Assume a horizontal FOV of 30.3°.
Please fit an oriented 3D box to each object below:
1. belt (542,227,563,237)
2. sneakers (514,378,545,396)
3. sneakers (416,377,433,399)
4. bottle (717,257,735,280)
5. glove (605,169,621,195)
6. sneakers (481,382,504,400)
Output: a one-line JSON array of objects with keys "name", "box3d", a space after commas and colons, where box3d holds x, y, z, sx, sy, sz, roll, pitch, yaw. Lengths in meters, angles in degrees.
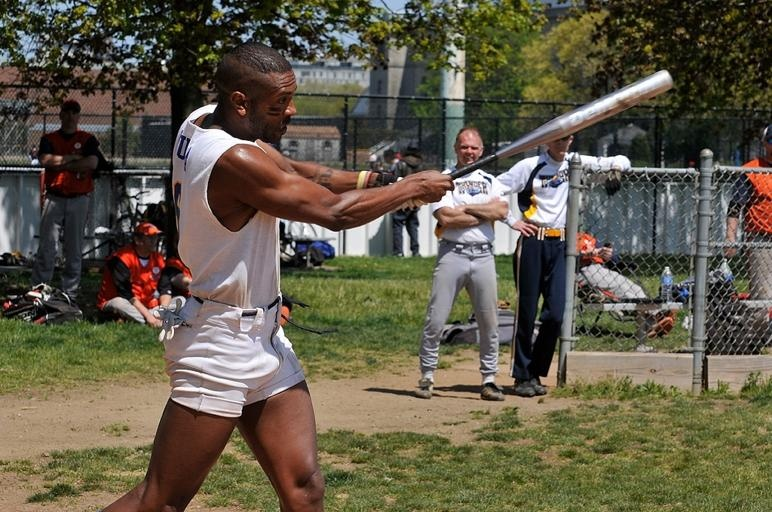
[{"name": "belt", "box3d": [2.199, -0.329, 18.800, 0.303, 0.093, 0.066, 1, -1, -23]}, {"name": "sneakers", "box3d": [1.909, 1.744, 18.863, 0.204, 0.153, 0.352, 1, -7, -26]}, {"name": "sneakers", "box3d": [0.514, 1.759, 18.979, 0.231, 0.258, 0.616, 1, -7, 4]}, {"name": "bottle", "box3d": [4.689, 0.164, 19.725, 0.109, 0.275, 0.252, -5, 15, 42]}, {"name": "glove", "box3d": [3.019, -1.009, 18.967, 0.244, 0.292, 0.137, 6, -4, 41]}, {"name": "sneakers", "box3d": [1.403, 1.793, 18.807, 0.313, 0.167, 0.176, 0, -1, 5]}]
